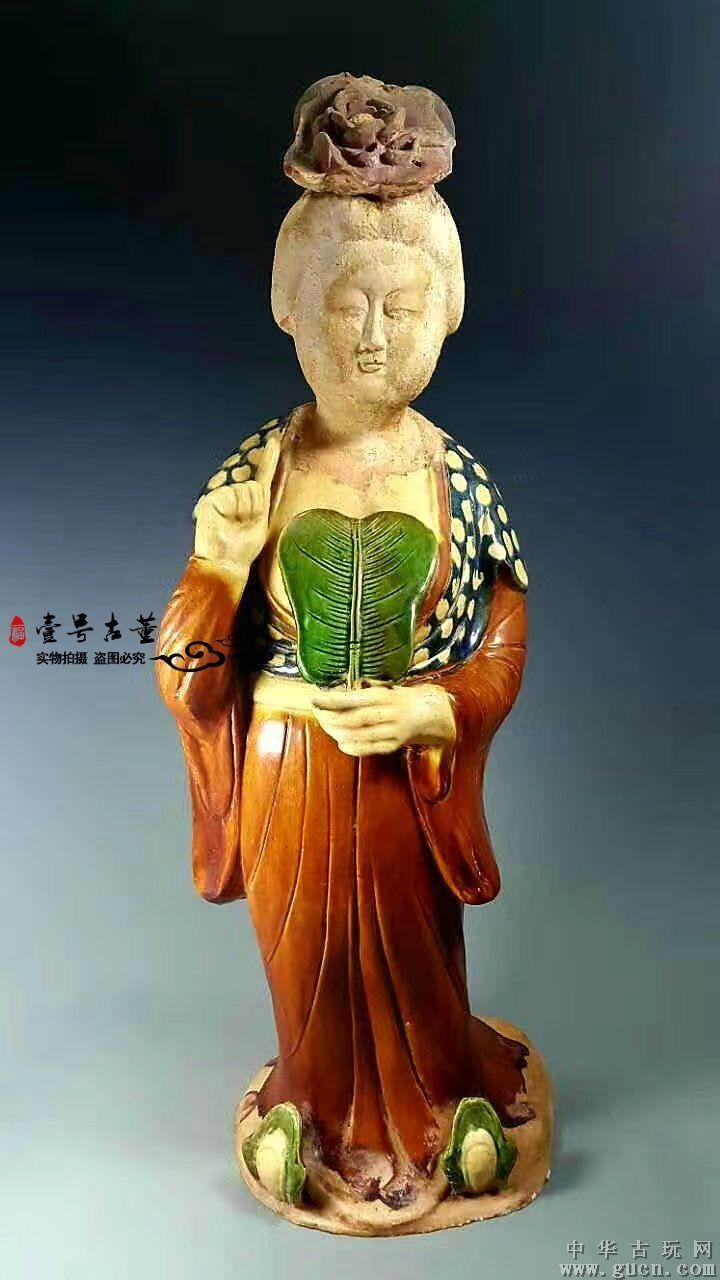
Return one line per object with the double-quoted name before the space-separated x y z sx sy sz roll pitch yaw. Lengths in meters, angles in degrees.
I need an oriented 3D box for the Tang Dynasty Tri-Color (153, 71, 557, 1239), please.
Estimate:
"Tang Dynasty Tri-Color" -0.012 0.050 2.978 0.835 1.698 0.671 -2 -1 1
